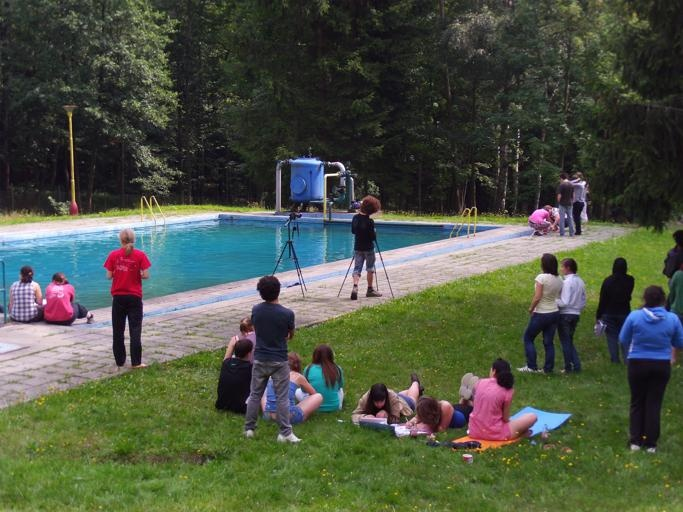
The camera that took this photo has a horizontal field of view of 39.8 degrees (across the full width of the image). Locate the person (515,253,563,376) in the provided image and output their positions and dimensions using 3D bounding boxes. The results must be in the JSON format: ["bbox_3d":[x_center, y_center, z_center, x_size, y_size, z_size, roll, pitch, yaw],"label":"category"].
[{"bbox_3d":[3.718,1.063,17.755,0.770,2.231,0.642,0,2,2],"label":"person"}]

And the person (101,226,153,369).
[{"bbox_3d":[-4.028,0.777,17.594,0.777,2.544,0.753,-1,2,-17],"label":"person"}]

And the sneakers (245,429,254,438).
[{"bbox_3d":[-1.537,2.912,15.504,0.085,0.133,0.125,26,-26,-14],"label":"sneakers"}]

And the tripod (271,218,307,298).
[{"bbox_3d":[-1.221,-0.118,24.126,0.932,2.061,0.839,0,3,34],"label":"tripod"}]

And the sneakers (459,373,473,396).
[{"bbox_3d":[2.198,2.265,16.475,0.195,0.420,0.132,4,-12,27],"label":"sneakers"}]

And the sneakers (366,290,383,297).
[{"bbox_3d":[0.745,0.854,21.785,0.345,0.176,0.141,-3,4,-5],"label":"sneakers"}]

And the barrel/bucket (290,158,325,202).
[{"bbox_3d":[-1.506,-3.132,39.575,1.418,1.896,1.386,3,1,0],"label":"barrel/bucket"}]

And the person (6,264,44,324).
[{"bbox_3d":[-6.717,0.833,20.125,0.662,1.233,1.075,0,9,-12],"label":"person"}]

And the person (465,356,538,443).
[{"bbox_3d":[2.641,2.493,15.864,0.988,1.500,1.075,18,-18,-35],"label":"person"}]

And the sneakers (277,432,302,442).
[{"bbox_3d":[-0.874,2.960,15.401,0.303,0.179,0.172,-1,-1,4],"label":"sneakers"}]

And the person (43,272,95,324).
[{"bbox_3d":[-5.867,0.896,20.041,0.835,0.969,1.040,2,7,3],"label":"person"}]

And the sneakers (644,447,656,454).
[{"bbox_3d":[4.974,3.109,15.165,0.172,0.091,0.096,0,2,-1],"label":"sneakers"}]

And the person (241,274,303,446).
[{"bbox_3d":[-1.152,1.626,15.602,0.903,2.855,0.869,7,13,17],"label":"person"}]

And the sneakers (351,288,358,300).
[{"bbox_3d":[0.270,0.894,21.692,0.100,0.146,0.308,2,-20,-8],"label":"sneakers"}]

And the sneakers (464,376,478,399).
[{"bbox_3d":[2.195,2.212,16.359,0.200,0.445,0.161,7,-15,26],"label":"sneakers"}]

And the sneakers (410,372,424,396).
[{"bbox_3d":[1.324,2.213,16.827,0.131,0.523,0.203,-10,-15,-13],"label":"sneakers"}]
